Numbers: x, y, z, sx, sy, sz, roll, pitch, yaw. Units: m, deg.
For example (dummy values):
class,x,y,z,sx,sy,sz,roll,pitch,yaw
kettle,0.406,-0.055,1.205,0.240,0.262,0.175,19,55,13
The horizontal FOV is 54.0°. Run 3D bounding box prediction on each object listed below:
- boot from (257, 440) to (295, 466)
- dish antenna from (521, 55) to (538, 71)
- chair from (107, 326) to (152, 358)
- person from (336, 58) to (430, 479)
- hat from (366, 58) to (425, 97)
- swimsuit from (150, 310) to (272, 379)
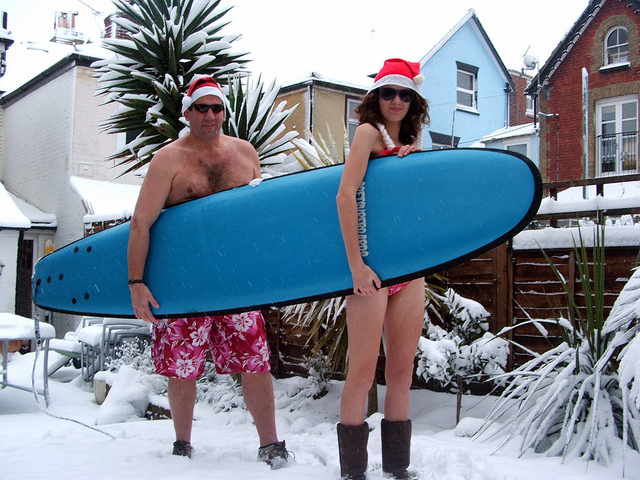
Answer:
class,x,y,z,sx,sy,sz,roll,pitch,yaw
boot,-0.293,1.330,3.898,0.195,0.124,0.101,-1,-4,-7
dish antenna,4.928,-4.144,14.702,0.335,0.356,0.758,-2,-4,20
chair,-2.375,1.271,7.568,0.280,0.264,0.378,-20,12,-27
person,0.375,0.153,3.629,0.584,2.442,0.359,0,-3,-6
hat,0.463,-0.947,3.628,0.236,0.170,0.231,0,13,5
swimsuit,-0.714,0.657,3.951,0.654,0.547,0.531,8,5,43
